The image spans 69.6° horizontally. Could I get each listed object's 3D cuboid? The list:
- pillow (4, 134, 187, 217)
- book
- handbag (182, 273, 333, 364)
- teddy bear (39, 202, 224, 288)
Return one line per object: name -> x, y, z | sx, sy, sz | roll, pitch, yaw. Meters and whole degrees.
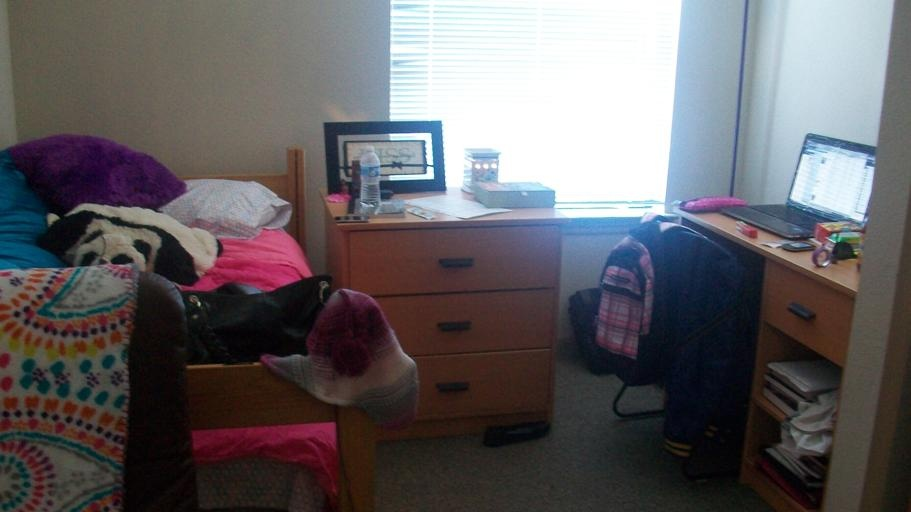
pillow -> -1.776, -0.415, 3.247 | 0.567, 0.169, 0.506 | 30, 21, 20
book -> 1.554, 0.797, 3.015 | 0.310, 0.532, 0.434 | 7, 22, 22
handbag -> -0.786, 0.233, 2.581 | 0.435, 0.129, 0.319 | -4, 20, -25
teddy bear -> -1.458, -0.042, 2.990 | 0.506, 0.167, 0.567 | 25, 8, 31
